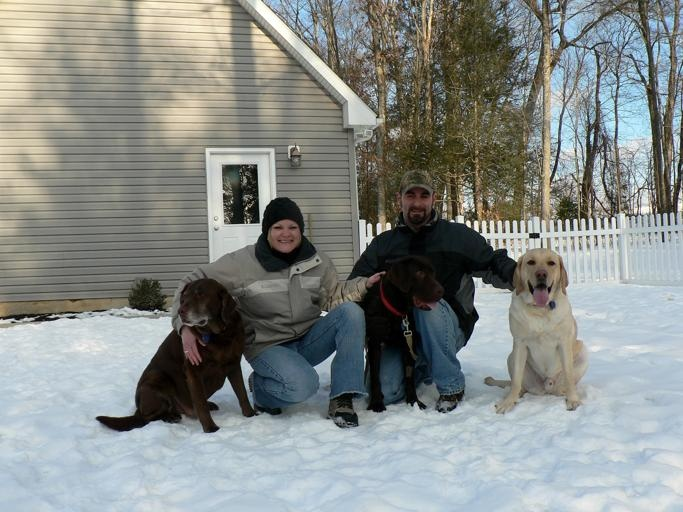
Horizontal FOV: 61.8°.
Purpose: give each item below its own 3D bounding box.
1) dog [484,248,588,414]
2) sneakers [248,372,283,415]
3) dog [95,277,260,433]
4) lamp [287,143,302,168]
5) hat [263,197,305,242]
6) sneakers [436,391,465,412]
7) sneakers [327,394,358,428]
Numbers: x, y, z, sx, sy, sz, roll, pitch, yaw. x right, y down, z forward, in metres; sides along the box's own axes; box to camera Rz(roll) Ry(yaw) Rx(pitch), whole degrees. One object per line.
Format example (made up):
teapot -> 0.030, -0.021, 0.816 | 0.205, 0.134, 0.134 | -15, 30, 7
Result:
dog -> 1.606, 0.575, 4.796 | 0.787, 1.276, 0.865 | -3, 2, 11
sneakers -> -0.658, 1.166, 4.894 | 0.117, 0.364, 0.255 | -6, -4, -12
dog -> -1.350, 0.809, 4.647 | 1.112, 1.204, 0.923 | -3, -3, 16
lamp -> -0.844, -1.789, 10.147 | 0.248, 0.414, 0.184 | -2, 7, -6
hat -> -0.489, -0.315, 4.767 | 0.305, 0.329, 0.331 | -3, 6, -12
sneakers -> 0.884, 1.202, 4.721 | 0.097, 0.133, 0.295 | -7, -7, 27
sneakers -> 0.010, 1.218, 4.552 | 0.234, 0.217, 0.248 | -2, 7, -7
